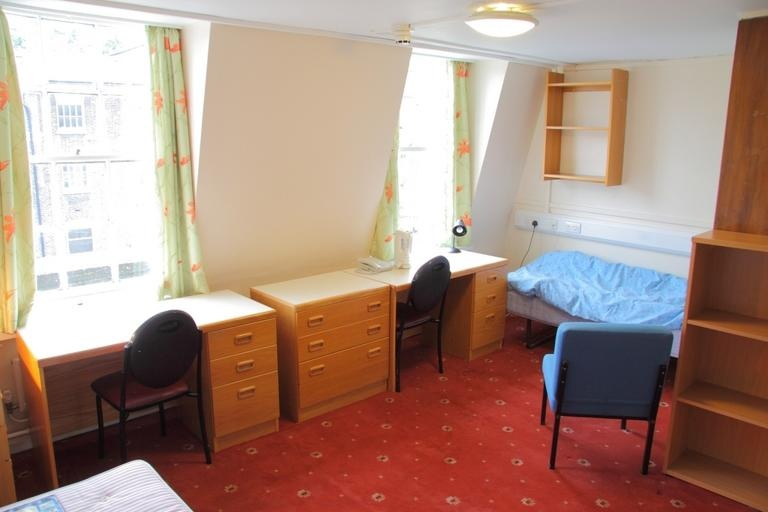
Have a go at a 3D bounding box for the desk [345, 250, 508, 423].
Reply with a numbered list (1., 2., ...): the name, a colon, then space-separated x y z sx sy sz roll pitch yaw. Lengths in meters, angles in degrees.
1. desk: 0.351 0.495 4.766 1.371 0.879 0.722 -9 17 -35

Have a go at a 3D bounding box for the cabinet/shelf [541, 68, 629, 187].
1. cabinet/shelf: 1.999 -1.293 5.335 0.943 1.417 0.380 12 19 41

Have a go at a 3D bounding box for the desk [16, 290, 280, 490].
1. desk: -1.542 0.880 3.674 1.454 0.953 0.813 -7 15 -33

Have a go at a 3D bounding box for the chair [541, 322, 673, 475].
1. chair: 1.428 0.886 3.690 0.726 0.992 0.732 3 11 7

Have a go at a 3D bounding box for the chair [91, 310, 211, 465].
1. chair: -1.521 0.825 3.481 0.631 1.053 0.599 9 11 35

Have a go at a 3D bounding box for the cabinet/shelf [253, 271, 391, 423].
1. cabinet/shelf: -0.489 0.674 4.308 0.935 0.871 0.685 -11 16 -43

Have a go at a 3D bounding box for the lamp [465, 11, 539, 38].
1. lamp: 0.734 -1.438 3.369 0.327 0.096 0.388 14 20 40

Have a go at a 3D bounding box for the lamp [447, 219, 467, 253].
1. lamp: 0.701 -0.207 5.198 0.139 0.321 0.422 3 15 7

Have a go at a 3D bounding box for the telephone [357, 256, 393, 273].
1. telephone: -0.056 0.070 4.558 0.300 0.096 0.185 0 15 -5
